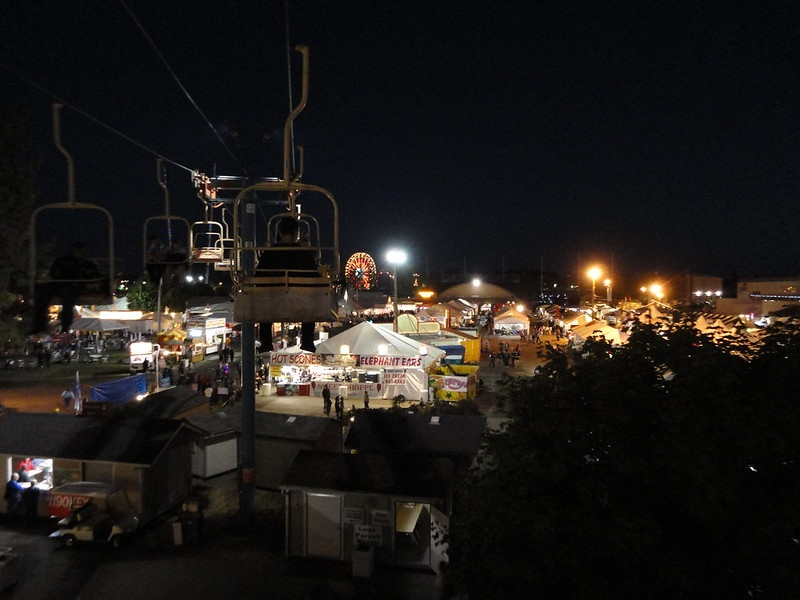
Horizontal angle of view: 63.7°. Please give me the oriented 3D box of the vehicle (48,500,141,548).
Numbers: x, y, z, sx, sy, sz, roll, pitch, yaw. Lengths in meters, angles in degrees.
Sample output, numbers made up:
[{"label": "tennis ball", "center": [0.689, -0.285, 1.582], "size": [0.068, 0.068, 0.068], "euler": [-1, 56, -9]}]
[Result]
[{"label": "vehicle", "center": [-8.169, 6.032, 17.348], "size": [1.959, 0.882, 1.104], "euler": [2, -6, -1]}]

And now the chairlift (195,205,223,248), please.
[{"label": "chairlift", "center": [-5.092, -1.950, 17.614], "size": [0.744, 1.247, 0.736], "euler": [-16, 11, -38]}]
